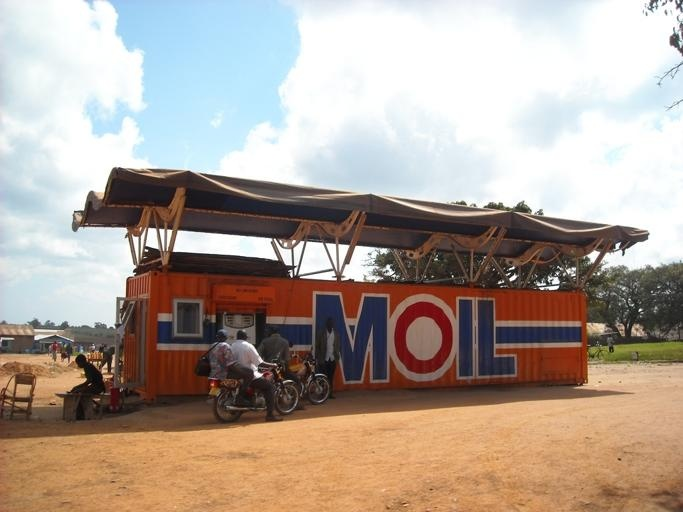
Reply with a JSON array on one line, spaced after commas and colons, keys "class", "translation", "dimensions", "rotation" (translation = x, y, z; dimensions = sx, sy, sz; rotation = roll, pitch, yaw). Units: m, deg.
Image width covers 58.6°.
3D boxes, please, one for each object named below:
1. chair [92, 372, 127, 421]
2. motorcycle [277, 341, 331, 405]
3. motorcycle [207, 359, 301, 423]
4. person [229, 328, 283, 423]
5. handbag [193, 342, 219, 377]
[{"class": "chair", "translation": [-6.536, 3.813, 16.794], "dimensions": [0.757, 1.285, 1.170], "rotation": [-2, -11, 10]}, {"class": "motorcycle", "translation": [-0.993, 3.463, 17.171], "dimensions": [0.977, 1.098, 1.544], "rotation": [-20, -18, 38]}, {"class": "motorcycle", "translation": [-2.279, 3.332, 15.488], "dimensions": [2.101, 1.561, 1.156], "rotation": [-3, -2, -28]}, {"class": "person", "translation": [-2.178, 2.859, 15.053], "dimensions": [1.096, 2.368, 0.916], "rotation": [-7, 5, -41]}, {"class": "handbag", "translation": [-3.387, 2.582, 14.950], "dimensions": [0.815, 0.970, 0.513], "rotation": [4, -6, -22]}]
